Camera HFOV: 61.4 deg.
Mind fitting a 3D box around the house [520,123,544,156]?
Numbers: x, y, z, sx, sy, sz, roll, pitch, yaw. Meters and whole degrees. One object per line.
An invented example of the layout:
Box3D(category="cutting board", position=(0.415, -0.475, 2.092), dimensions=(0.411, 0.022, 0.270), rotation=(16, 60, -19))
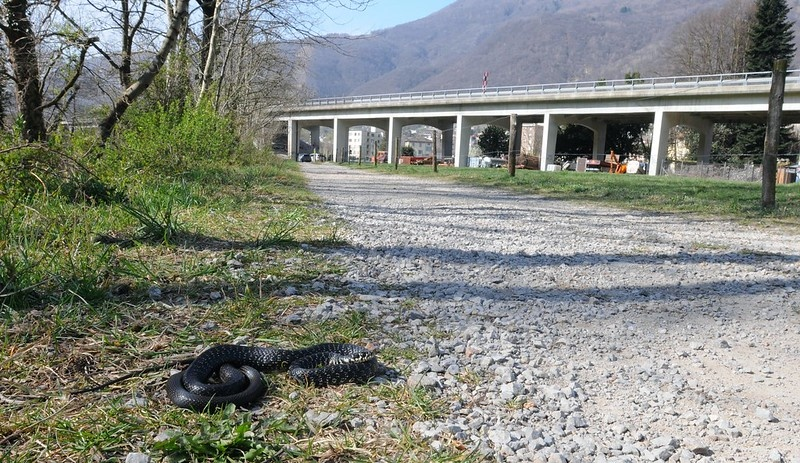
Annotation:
Box3D(category="house", position=(14.406, -10.326, 74.145), dimensions=(1.404, 3.315, 3.624), rotation=(0, 14, -10))
